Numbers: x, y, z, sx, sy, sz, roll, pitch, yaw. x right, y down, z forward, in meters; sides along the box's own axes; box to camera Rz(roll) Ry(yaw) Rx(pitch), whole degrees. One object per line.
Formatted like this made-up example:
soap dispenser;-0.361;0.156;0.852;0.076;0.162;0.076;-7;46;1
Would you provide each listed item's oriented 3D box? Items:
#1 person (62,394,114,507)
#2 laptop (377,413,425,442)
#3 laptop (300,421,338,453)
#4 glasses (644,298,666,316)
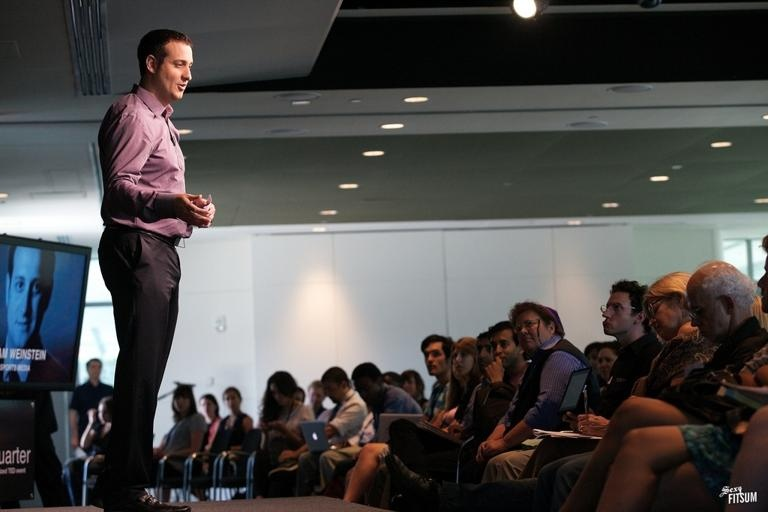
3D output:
person;-2.373;1.417;5.406;0.379;1.128;0.320;4;-7;-41
laptop;0.124;1.397;5.179;0.387;0.322;0.374;3;-17;-5
laptop;-0.558;1.471;5.603;0.282;0.293;0.226;-7;-5;30
glasses;1.703;0.301;4.154;0.090;0.104;0.118;-4;26;-41
